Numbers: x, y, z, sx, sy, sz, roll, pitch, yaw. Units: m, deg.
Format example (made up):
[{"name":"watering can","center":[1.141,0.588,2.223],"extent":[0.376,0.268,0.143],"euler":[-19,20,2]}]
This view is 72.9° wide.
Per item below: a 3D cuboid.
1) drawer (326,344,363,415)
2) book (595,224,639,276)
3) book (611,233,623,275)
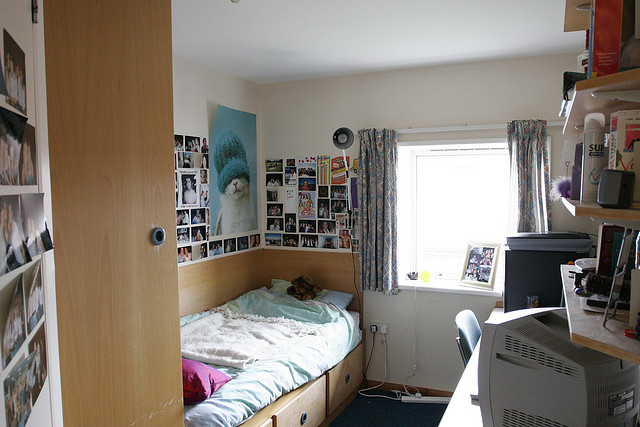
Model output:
[{"name":"drawer","center":[0.206,1.393,3.679],"extent":[0.297,0.348,0.559],"euler":[-1,2,22]},{"name":"book","center":[1.161,0.142,1.749],"extent":[0.052,0.229,0.228],"euler":[6,-4,18]},{"name":"book","center":[1.185,0.162,1.732],"extent":[0.033,0.169,0.033],"euler":[1,6,21]}]
